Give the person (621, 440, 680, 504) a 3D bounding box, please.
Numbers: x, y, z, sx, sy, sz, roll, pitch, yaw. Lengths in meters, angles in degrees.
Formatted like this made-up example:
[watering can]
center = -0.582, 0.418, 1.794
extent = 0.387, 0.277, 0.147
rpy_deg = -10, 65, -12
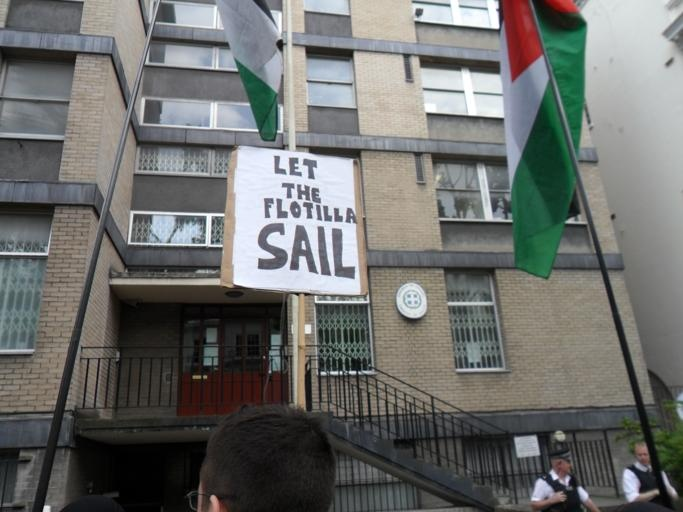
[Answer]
[person]
center = 4.830, 3.506, 9.471
extent = 0.481, 0.895, 0.660
rpy_deg = -3, -20, 5
